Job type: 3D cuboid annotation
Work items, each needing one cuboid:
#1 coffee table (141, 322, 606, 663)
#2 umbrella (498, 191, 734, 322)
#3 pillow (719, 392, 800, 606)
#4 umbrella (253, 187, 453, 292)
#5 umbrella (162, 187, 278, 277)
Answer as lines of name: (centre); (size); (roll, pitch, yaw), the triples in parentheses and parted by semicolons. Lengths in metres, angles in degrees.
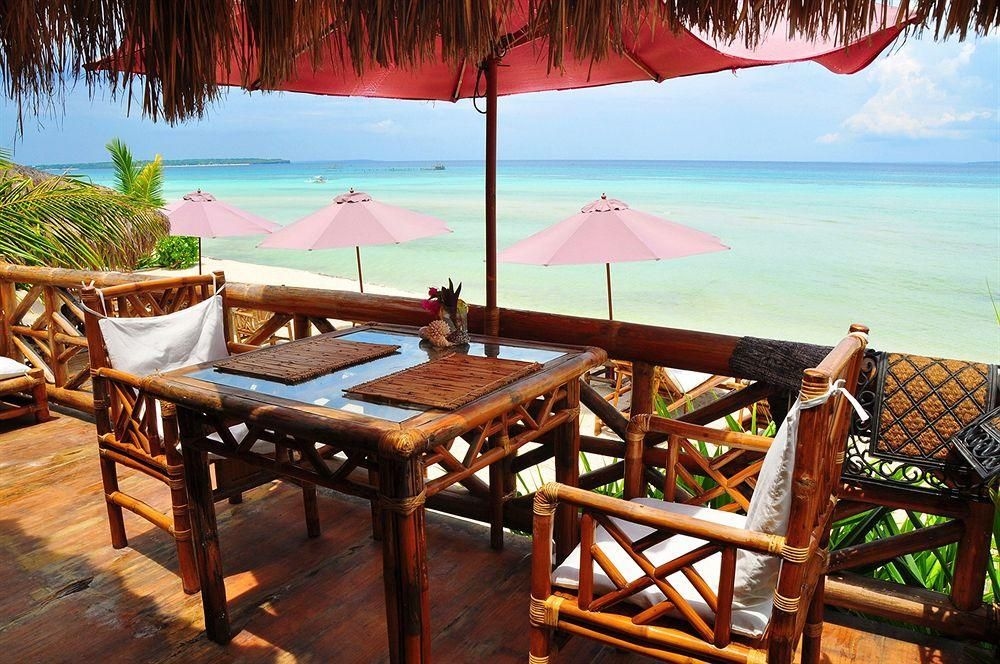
coffee table: (-0.413, 0.425, 2.690); (1.547, 1.119, 1.542); (5, 14, 32)
umbrella: (0.805, -0.742, 4.828); (1.287, 0.840, 1.241); (-6, 10, 2)
pillow: (0.825, 0.535, 1.913); (0.130, 0.731, 0.206); (7, 19, 23)
umbrella: (-1.182, -0.924, 5.266); (1.206, 0.804, 1.158); (-4, 17, 8)
umbrella: (-3.421, -1.389, 7.675); (1.496, 1.040, 1.461); (9, 18, 15)
